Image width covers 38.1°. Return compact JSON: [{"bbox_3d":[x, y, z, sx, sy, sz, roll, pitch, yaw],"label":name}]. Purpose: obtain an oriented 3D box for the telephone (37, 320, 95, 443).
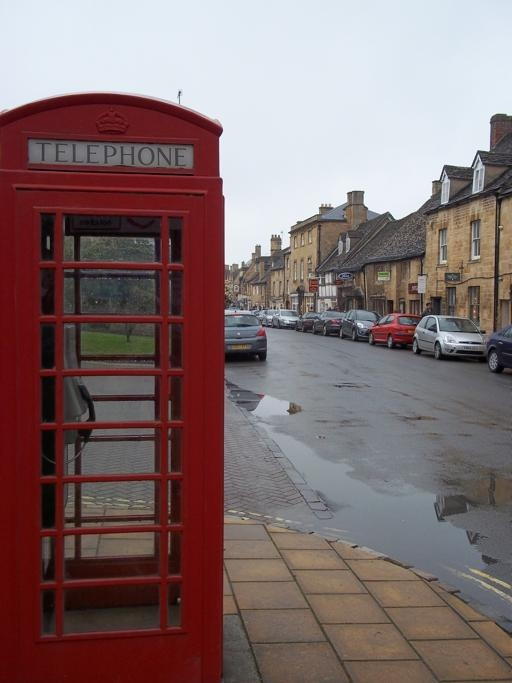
[{"bbox_3d":[-0.718,0.147,2.798,0.187,0.427,0.190,-2,12,-22],"label":"telephone"}]
